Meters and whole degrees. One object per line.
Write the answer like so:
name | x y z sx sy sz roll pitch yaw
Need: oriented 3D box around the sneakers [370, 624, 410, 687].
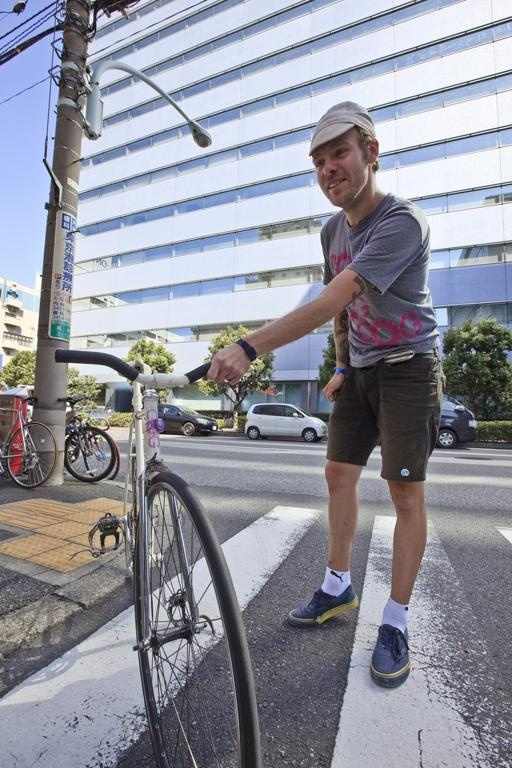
sneakers | 0.496 1.007 2.021 0.141 0.204 0.235 2 0 17

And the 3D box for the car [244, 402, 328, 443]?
car | 0.914 1.244 17.353 1.968 0.978 1.242 -3 -4 21

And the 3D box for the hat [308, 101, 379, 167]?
hat | 0.336 -1.046 2.192 0.255 0.142 0.179 -19 12 -41

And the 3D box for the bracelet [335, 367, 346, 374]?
bracelet | 0.412 -0.063 2.671 0.033 0.024 0.034 1 -5 6

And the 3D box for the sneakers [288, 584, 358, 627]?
sneakers | 0.291 0.997 2.473 0.327 0.125 0.126 -11 -14 -24
